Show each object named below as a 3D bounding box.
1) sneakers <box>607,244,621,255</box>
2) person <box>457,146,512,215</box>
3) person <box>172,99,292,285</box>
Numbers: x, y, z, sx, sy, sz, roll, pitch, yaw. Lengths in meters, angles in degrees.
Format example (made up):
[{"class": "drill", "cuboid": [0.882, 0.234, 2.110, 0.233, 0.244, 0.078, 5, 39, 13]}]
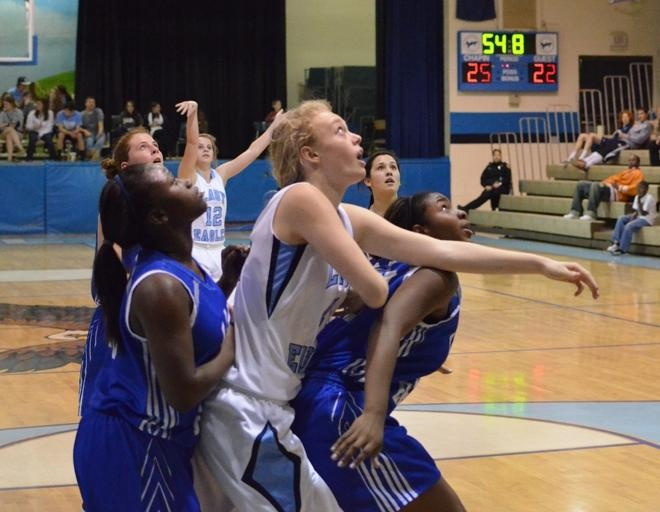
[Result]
[{"class": "sneakers", "cuboid": [4.153, -0.104, 10.261, 0.154, 0.144, 0.225, 1, 8, 7]}, {"class": "person", "cuboid": [3.152, -1.430, 14.102, 1.224, 1.394, 0.561, -22, 28, -38]}, {"class": "person", "cuboid": [-0.894, -0.436, 5.388, 0.789, 1.462, 0.762, 6, -3, -25]}]
